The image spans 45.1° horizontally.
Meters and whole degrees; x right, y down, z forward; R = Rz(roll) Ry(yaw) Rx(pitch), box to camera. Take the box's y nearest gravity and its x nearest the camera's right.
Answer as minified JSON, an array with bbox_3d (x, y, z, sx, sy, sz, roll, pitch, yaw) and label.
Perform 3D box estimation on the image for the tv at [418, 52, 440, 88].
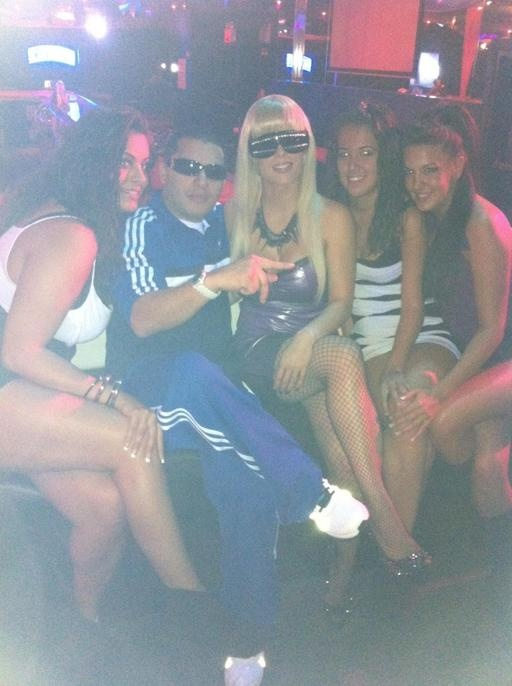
[{"bbox_3d":[1.343,-2.095,4.760,0.162,0.253,0.223,10,33,16],"label":"tv"}]

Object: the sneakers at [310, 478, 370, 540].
[{"bbox_3d":[0.185,0.374,1.357,0.106,0.128,0.115,-58,15,-15],"label":"sneakers"}]
